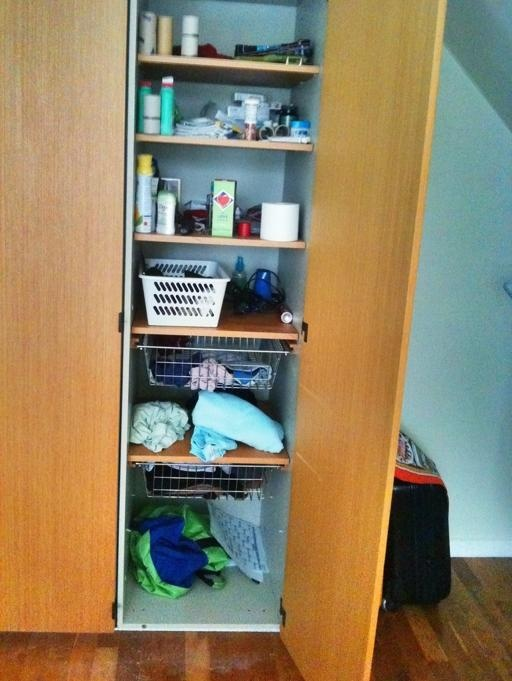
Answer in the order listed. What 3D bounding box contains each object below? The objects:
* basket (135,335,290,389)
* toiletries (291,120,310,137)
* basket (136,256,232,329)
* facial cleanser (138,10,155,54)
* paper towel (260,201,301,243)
[{"bbox_3d":[-0.148,0.073,2.047,0.359,0.113,0.226,-1,4,-8],"label":"basket"},{"bbox_3d":[0.124,-0.604,1.779,0.054,0.052,0.052,-3,12,-2],"label":"toiletries"},{"bbox_3d":[-0.215,-0.122,1.892,0.292,0.170,0.245,1,17,-7],"label":"basket"},{"bbox_3d":[-0.314,-0.848,1.730,0.057,0.096,0.057,21,25,33],"label":"facial cleanser"},{"bbox_3d":[0.079,-0.343,1.801,0.120,0.110,0.116,3,12,10],"label":"paper towel"}]
